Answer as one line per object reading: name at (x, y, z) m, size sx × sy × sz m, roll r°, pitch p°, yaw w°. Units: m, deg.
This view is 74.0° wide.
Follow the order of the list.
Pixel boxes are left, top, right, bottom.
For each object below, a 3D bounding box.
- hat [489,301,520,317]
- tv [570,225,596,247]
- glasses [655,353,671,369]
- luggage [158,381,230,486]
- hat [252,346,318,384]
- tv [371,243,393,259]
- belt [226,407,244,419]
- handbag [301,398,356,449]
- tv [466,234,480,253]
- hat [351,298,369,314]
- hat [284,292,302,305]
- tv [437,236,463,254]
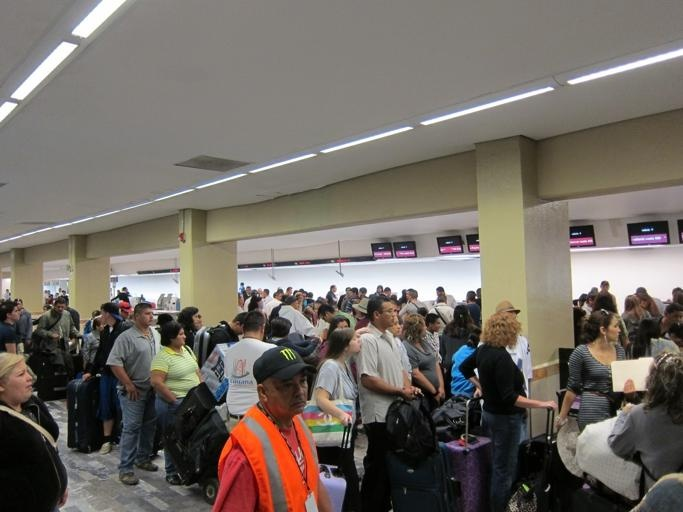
hat at (1.904, 0.613, 5.261) m, size 0.203 × 0.095 × 0.238 m, roll -2°, pitch -17°, yaw -12°
tv at (6.731, -0.548, 12.608) m, size 0.677 × 0.642 × 0.069 m, roll 1°, pitch 0°, yaw 41°
glasses at (1.954, 0.650, 2.760) m, size 0.072 × 0.031 × 0.092 m, roll -48°, pitch -2°, yaw -42°
luggage at (-1.480, 1.823, 4.649) m, size 0.850 × 0.992 × 0.286 m, roll -7°, pitch -10°, yaw 41°
hat at (-0.268, 0.489, 2.064) m, size 0.279 × 0.150 × 0.213 m, roll -23°, pitch -14°, yaw 26°
tv at (1.473, -0.198, 16.305) m, size 0.828 × 0.576 × 0.262 m, roll -6°, pitch -9°, yaw 37°
belt at (-1.037, 1.550, 4.455) m, size 0.202 × 0.081 × 0.155 m, roll -3°, pitch -5°, yaw 28°
handbag at (-0.106, 1.378, 3.656) m, size 0.402 × 0.406 × 0.255 m, roll 0°, pitch -7°, yaw -7°
tv at (3.920, -0.387, 13.502) m, size 0.082 × 0.647 × 0.518 m, roll 1°, pitch -4°, yaw -40°
hat at (0.386, 0.845, 7.457) m, size 0.357 × 0.141 × 0.332 m, roll 27°, pitch -6°, yaw -23°
hat at (-0.882, 0.822, 8.357) m, size 0.297 × 0.238 × 0.166 m, roll -21°, pitch -43°, yaw -5°
tv at (3.497, -0.357, 14.494) m, size 0.864 × 0.561 × 0.551 m, roll -5°, pitch -9°, yaw 31°
